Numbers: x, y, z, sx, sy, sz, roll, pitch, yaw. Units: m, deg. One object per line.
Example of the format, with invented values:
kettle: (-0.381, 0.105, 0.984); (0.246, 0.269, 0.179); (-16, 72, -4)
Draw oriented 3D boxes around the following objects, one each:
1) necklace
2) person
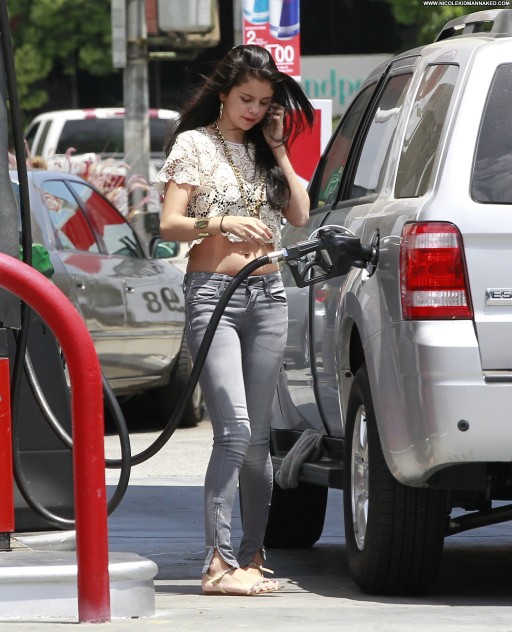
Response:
necklace: (-0.045, -0.507, 4.304); (0.060, 0.303, 0.180); (-17, -4, 13)
person: (-0.104, -0.001, 4.385); (0.604, 1.741, 0.724); (0, 2, -8)
